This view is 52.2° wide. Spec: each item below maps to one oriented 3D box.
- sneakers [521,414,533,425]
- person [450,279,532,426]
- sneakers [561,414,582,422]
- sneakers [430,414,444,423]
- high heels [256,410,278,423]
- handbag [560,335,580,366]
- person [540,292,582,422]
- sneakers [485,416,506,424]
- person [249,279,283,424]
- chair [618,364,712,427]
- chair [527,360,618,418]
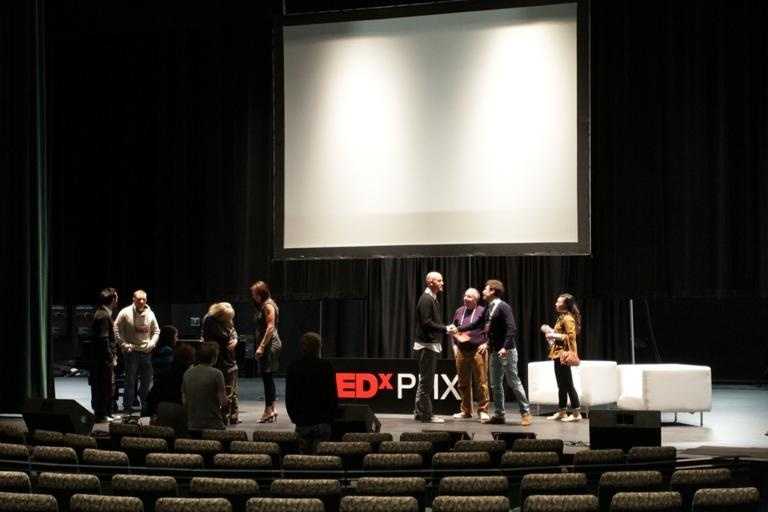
[{"bbox_3d":[1.929,2.238,10.673,0.075,0.176,0.239,-5,-13,21],"label":"sneakers"},{"bbox_3d":[1.584,1.481,11.443,1.232,2.573,0.975,13,-24,-20],"label":"person"},{"bbox_3d":[2.598,2.211,10.846,0.226,0.101,0.138,-1,-6,20],"label":"sneakers"},{"bbox_3d":[0.736,2.286,11.015,0.112,0.062,0.162,0,-2,11],"label":"sneakers"},{"bbox_3d":[-1.615,2.237,10.867,0.103,0.140,0.310,-13,-22,42],"label":"high heels"},{"bbox_3d":[2.496,1.288,10.588,0.241,0.399,0.144,-3,-2,7],"label":"handbag"},{"bbox_3d":[2.469,1.407,10.855,0.497,1.751,0.634,-3,-2,14],"label":"person"},{"bbox_3d":[1.507,2.240,10.694,0.295,0.121,0.110,0,-2,28],"label":"sneakers"},{"bbox_3d":[-1.710,1.337,11.417,0.356,1.983,1.580,-2,-2,-9],"label":"person"},{"bbox_3d":[3.999,1.902,11.247,0.924,0.852,1.045,2,-8,3],"label":"chair"},{"bbox_3d":[2.828,2.145,11.589,1.086,0.876,0.819,-6,-10,39],"label":"chair"}]
